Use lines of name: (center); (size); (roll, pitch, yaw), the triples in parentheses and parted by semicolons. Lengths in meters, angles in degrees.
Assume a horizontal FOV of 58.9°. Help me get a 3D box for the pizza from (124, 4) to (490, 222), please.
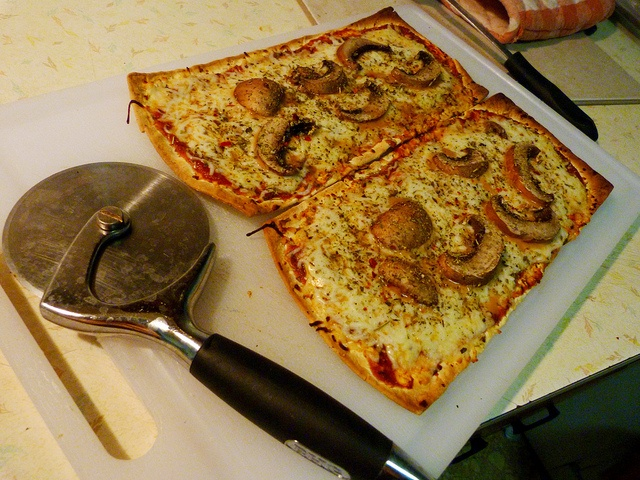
pizza: (-0.039, -0.409, 1.842); (1.039, 0.163, 0.631); (-26, 72, -17)
